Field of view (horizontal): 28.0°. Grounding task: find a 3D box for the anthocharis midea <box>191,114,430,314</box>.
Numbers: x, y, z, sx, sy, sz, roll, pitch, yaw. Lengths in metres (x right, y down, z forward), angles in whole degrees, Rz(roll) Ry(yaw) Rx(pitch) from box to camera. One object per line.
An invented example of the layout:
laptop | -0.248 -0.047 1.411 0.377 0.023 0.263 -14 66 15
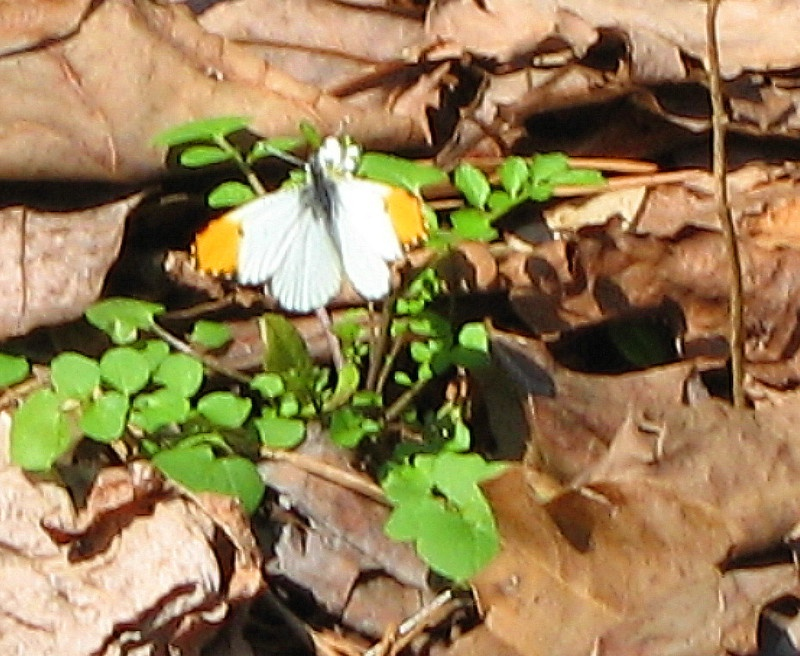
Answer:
anthocharis midea | -0.101 -0.137 1.912 0.290 0.192 0.106 -1 -2 10
